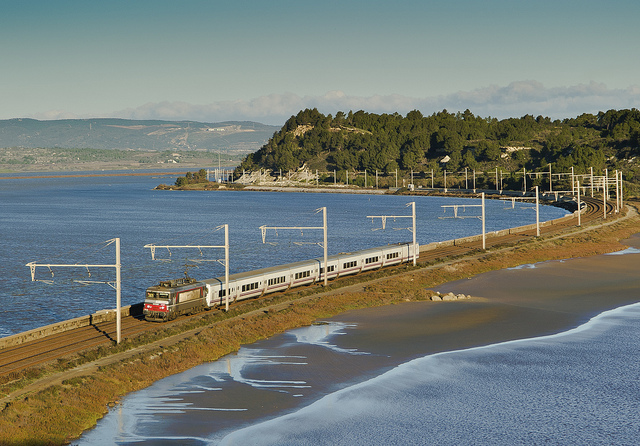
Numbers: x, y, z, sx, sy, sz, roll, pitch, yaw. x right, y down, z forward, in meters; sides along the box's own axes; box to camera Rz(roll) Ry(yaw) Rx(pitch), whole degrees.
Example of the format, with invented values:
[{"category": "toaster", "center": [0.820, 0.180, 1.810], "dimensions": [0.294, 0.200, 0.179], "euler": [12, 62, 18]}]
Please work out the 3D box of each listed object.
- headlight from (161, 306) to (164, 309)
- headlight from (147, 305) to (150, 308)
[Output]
[{"category": "headlight", "center": [-19.354, 10.413, 118.373], "dimensions": [0.451, 0.309, 0.210], "euler": [2, -8, -13]}, {"category": "headlight", "center": [-21.231, 10.321, 118.902], "dimensions": [0.473, 0.311, 0.094], "euler": [4, 2, 8]}]
